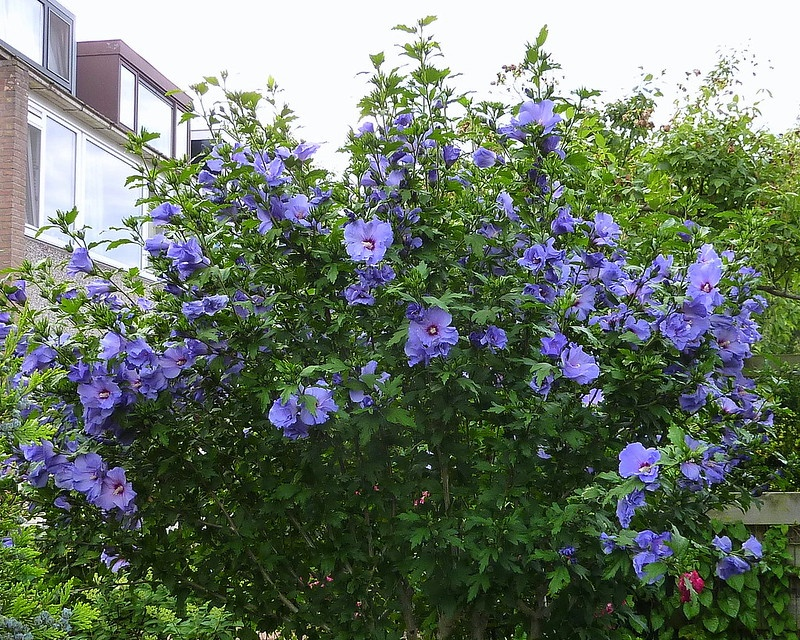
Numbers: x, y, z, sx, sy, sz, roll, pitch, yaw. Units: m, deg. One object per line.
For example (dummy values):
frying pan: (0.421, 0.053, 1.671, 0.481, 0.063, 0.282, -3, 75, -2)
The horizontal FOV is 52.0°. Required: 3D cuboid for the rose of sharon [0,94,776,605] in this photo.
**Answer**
rose of sharon: (-0.090, 0.290, 4.533, 3.851, 2.801, 2.728, 1, 1, -5)
